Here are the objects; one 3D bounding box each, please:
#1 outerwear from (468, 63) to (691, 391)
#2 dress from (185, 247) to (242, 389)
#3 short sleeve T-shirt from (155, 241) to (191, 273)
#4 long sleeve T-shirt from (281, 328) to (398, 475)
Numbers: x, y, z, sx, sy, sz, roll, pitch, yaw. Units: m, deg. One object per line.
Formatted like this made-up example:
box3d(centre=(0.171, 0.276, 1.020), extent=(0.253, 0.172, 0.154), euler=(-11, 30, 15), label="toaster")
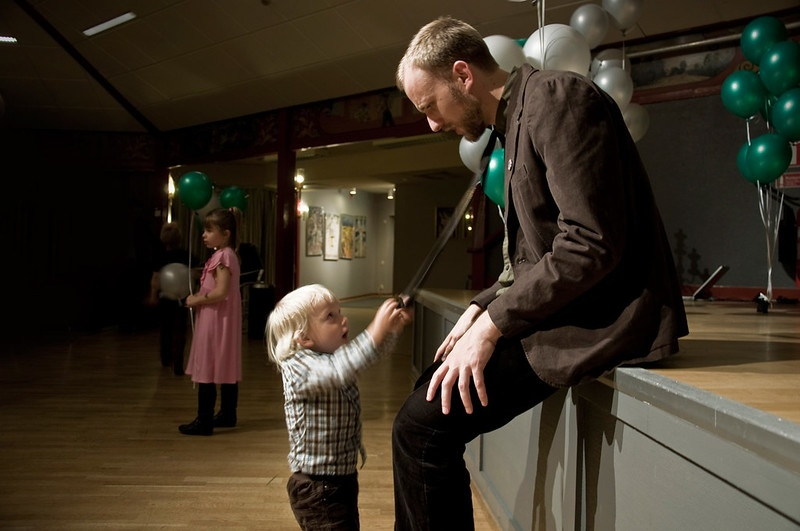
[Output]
box3d(centre=(0.835, -0.217, 2.958), extent=(0.836, 1.496, 1.275), euler=(-3, -3, 7), label="outerwear")
box3d(centre=(-1.486, 0.418, 4.778), extent=(0.418, 1.116, 0.265), euler=(-1, 5, -24), label="dress")
box3d(centre=(-2.434, -0.078, 6.397), extent=(0.299, 0.345, 0.333), euler=(1, 3, 4), label="short sleeve T-shirt")
box3d(centre=(-0.301, 0.608, 3.050), extent=(0.519, 0.856, 0.471), euler=(-5, 6, 8), label="long sleeve T-shirt")
